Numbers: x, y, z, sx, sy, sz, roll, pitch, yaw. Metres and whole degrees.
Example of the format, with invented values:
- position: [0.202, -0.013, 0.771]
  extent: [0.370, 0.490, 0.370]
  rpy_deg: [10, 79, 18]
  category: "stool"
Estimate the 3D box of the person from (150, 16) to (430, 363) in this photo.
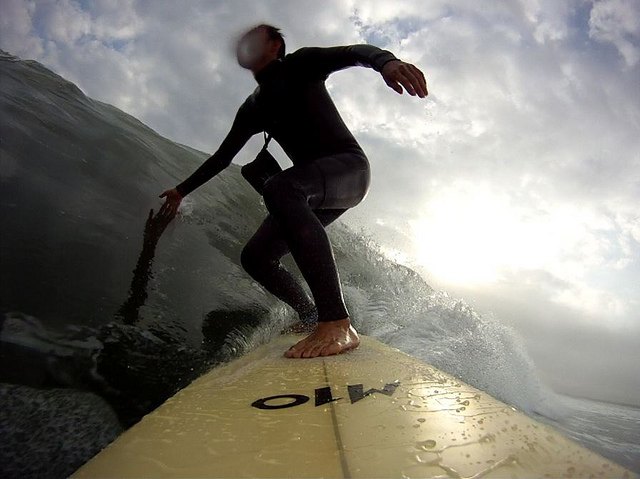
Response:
- position: [-0.304, -0.113, 2.247]
  extent: [0.974, 1.734, 1.533]
  rpy_deg: [21, -40, -25]
  category: "person"
